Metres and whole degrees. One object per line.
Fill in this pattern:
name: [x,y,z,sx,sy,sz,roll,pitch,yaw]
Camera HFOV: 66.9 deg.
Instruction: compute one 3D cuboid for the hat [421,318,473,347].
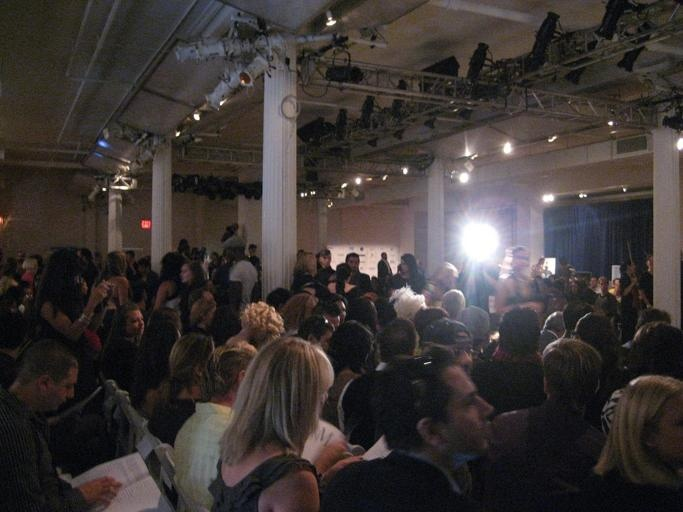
hat: [0.730,0.519,3.560,0.260,0.142,0.184,3,-1,-23]
